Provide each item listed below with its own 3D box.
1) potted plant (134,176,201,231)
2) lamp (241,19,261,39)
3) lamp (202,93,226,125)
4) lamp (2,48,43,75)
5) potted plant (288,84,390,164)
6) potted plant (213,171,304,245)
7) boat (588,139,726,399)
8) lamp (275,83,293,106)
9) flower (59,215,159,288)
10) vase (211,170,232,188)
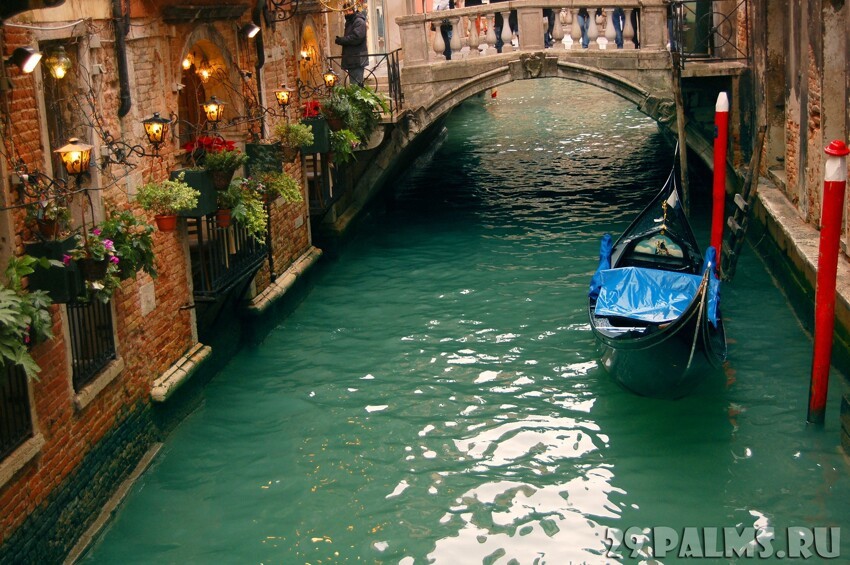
[{"bbox_3d":[-3.066,-0.910,9.128,0.686,0.589,0.753,-6,11,-12],"label":"potted plant"},{"bbox_3d":[-2.564,-3.695,11.210,0.234,0.222,0.458,-7,12,-17],"label":"lamp"},{"bbox_3d":[-2.813,-2.283,10.165,0.186,0.346,0.542,-6,11,-11],"label":"lamp"},{"bbox_3d":[-3.638,-1.980,6.859,0.307,0.183,0.304,9,37,36],"label":"lamp"},{"bbox_3d":[-1.566,-2.877,13.907,1.506,1.091,1.466,0,14,6],"label":"potted plant"},{"bbox_3d":[-2.363,-1.086,10.563,1.072,0.378,0.961,0,41,-7],"label":"potted plant"},{"bbox_3d":[3.164,-0.109,10.985,1.135,1.646,4.543,2,26,10],"label":"boat"},{"bbox_3d":[-2.335,-3.098,12.633,0.333,0.452,0.362,0,13,0],"label":"lamp"},{"bbox_3d":[-3.203,-0.342,7.672,0.624,0.503,0.727,2,6,16],"label":"flower"},{"bbox_3d":[-2.616,-1.317,9.816,0.199,0.158,0.205,-1,14,10],"label":"vase"}]
